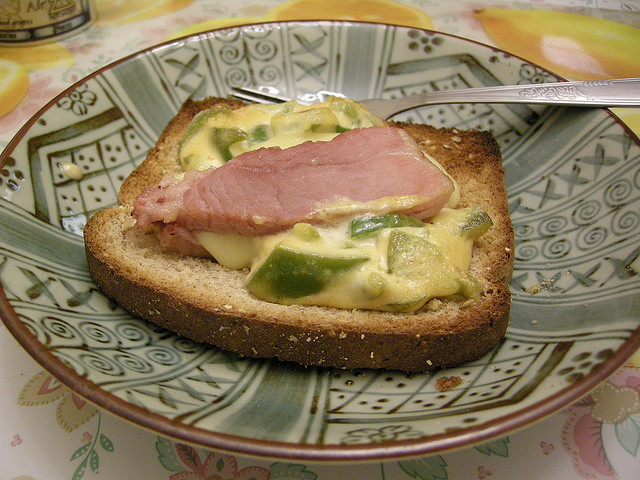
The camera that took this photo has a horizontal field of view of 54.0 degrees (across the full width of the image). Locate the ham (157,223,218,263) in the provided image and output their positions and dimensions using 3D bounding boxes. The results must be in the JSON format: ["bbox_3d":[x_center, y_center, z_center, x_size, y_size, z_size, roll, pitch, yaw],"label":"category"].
[{"bbox_3d":[-0.582,0.023,2.864,0.239,0.171,0.084,26,60,-12],"label":"ham"}]
